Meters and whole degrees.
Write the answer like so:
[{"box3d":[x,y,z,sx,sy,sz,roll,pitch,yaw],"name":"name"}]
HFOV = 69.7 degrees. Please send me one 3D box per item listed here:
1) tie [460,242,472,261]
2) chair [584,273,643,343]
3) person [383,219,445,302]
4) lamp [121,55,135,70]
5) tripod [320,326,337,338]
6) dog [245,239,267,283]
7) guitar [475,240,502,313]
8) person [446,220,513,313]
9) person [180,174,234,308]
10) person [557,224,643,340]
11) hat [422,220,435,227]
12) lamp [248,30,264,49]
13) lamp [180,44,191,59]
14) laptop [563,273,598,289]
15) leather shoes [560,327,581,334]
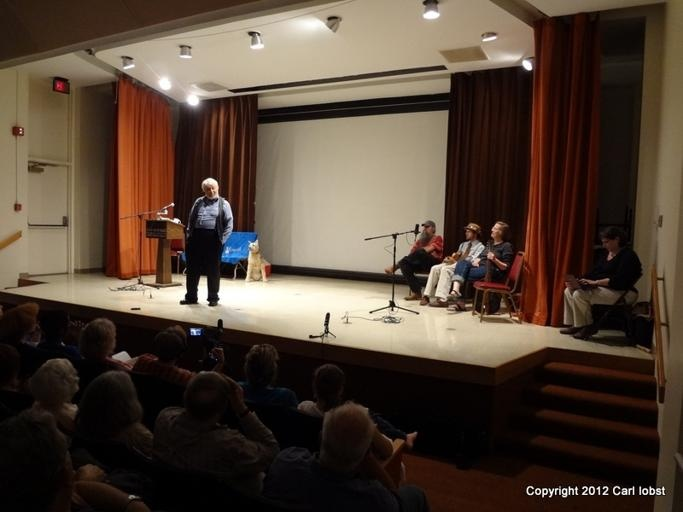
[{"box3d":[1.598,-0.056,6.308,0.143,0.055,0.394,-16,25,14],"name":"tie"},{"box3d":[2.712,0.508,4.900,0.566,0.884,0.477,0,1,15],"name":"chair"},{"box3d":[1.079,0.066,7.106,0.908,1.448,0.571,12,-20,-21],"name":"person"},{"box3d":[-3.166,-2.859,7.280,0.141,0.164,0.148,2,1,24],"name":"lamp"},{"box3d":[-0.122,0.708,4.488,0.118,0.142,0.050,-1,-14,-19],"name":"tripod"},{"box3d":[-1.438,0.095,8.348,0.337,0.651,0.393,1,1,-12],"name":"dog"},{"box3d":[1.763,0.301,5.926,0.316,0.924,0.114,5,15,17],"name":"guitar"},{"box3d":[1.647,0.106,5.928,0.655,1.202,0.478,19,-9,-17],"name":"person"},{"box3d":[-1.630,-0.175,5.982,0.615,1.513,0.322,1,1,7],"name":"person"},{"box3d":[2.530,0.244,4.783,0.574,1.074,0.500,0,10,9],"name":"person"},{"box3d":[1.279,-0.482,7.213,0.152,0.088,0.107,12,-8,-32],"name":"hat"},{"box3d":[-1.093,-2.747,6.261,0.159,0.182,0.177,6,16,25],"name":"lamp"},{"box3d":[-2.122,-2.794,6.759,0.145,0.160,0.139,-1,-4,-39],"name":"lamp"},{"box3d":[2.237,0.247,4.661,0.169,0.134,0.177,-5,7,-17],"name":"laptop"},{"box3d":[2.299,0.738,4.973,0.151,0.068,0.058,2,2,30],"name":"leather shoes"}]
